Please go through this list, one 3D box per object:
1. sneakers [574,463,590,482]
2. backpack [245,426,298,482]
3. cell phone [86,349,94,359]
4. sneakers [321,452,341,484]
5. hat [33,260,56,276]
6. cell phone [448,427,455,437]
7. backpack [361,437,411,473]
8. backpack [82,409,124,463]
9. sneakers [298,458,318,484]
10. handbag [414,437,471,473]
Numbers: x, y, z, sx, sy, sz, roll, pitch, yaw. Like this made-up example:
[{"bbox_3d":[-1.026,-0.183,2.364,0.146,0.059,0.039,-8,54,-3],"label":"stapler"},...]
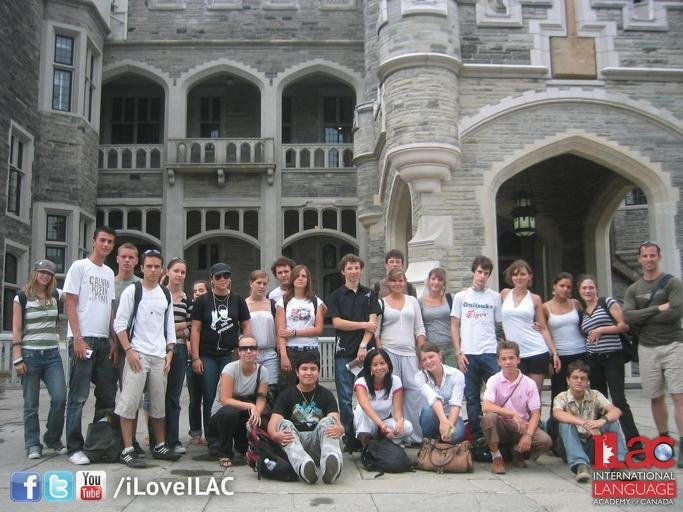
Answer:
[{"bbox_3d":[2.752,2.460,8.531,0.167,0.145,0.254,4,14,17],"label":"sneakers"},{"bbox_3d":[-0.847,2.311,8.579,0.632,0.282,0.487,35,27,28],"label":"backpack"},{"bbox_3d":[-3.041,1.174,8.986,0.073,0.096,0.042,7,3,-17],"label":"cell phone"},{"bbox_3d":[-0.120,2.378,8.439,0.166,0.367,0.161,11,14,-8],"label":"sneakers"},{"bbox_3d":[-3.766,0.129,9.445,0.204,0.148,0.275,12,-15,-33],"label":"hat"},{"bbox_3d":[1.301,2.094,8.901,0.100,0.091,0.026,-2,7,-32],"label":"cell phone"},{"bbox_3d":[0.510,2.410,9.048,0.582,0.259,0.708,-2,14,-20],"label":"backpack"},{"bbox_3d":[-2.878,2.182,9.050,0.470,0.617,0.344,-8,-11,7],"label":"backpack"},{"bbox_3d":[-0.384,2.404,8.416,0.143,0.323,0.142,-16,16,-17],"label":"sneakers"},{"bbox_3d":[1.251,2.401,8.945,0.708,0.381,0.378,-5,-10,30],"label":"handbag"}]
